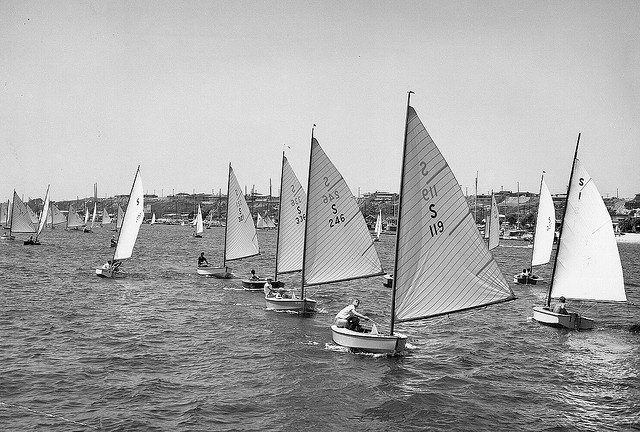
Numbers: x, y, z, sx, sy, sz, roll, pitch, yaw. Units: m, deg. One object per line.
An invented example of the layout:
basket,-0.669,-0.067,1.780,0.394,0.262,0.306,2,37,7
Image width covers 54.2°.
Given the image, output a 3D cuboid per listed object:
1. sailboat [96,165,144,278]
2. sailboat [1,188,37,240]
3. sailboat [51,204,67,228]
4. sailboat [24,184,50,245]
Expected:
sailboat,-18.725,1.118,59.082,3.756,12.631,16.592,-3,12,-18
sailboat,-56.249,0.852,115.888,3.148,8.905,3.413,-4,4,5
sailboat,-64.904,-0.504,153.721,2.806,6.221,7.183,-4,12,-24
sailboat,-54.300,1.257,119.759,3.150,12.932,2.987,3,-8,5
